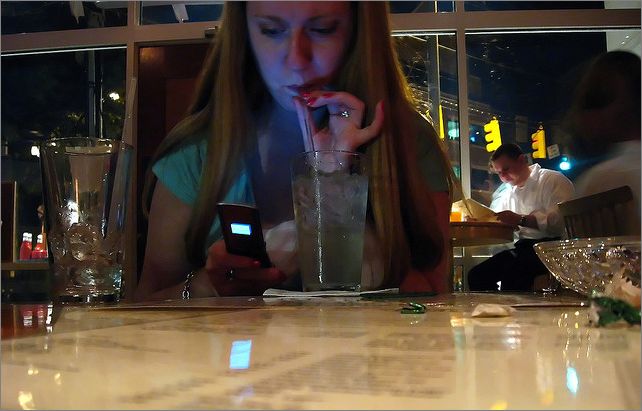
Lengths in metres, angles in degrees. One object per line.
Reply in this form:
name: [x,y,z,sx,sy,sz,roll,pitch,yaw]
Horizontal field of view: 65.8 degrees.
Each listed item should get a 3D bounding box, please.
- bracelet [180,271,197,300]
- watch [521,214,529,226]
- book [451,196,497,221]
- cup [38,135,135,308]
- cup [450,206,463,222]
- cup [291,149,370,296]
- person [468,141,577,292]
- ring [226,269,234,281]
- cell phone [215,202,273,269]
bracelet: [-0.377,0.229,1.423,0.026,0.085,0.062,6,-8,-12]
watch: [1.607,0.126,3.968,0.051,0.080,0.074,4,-14,15]
book: [1.031,0.027,3.423,0.136,0.060,0.171,9,11,-40]
cup: [-0.412,0.023,0.875,0.144,0.294,0.084,0,-6,-23]
cup: [0.847,0.059,3.136,0.084,0.094,0.084,0,-12,0]
cup: [0.020,0.032,0.988,0.150,0.274,0.078,-2,-5,-5]
person: [1.682,0.286,4.207,0.859,1.546,0.655,1,-5,-13]
ring: [-0.223,0.171,1.224,0.025,0.024,0.023,1,5,0]
cell phone: [-0.171,0.093,1.138,0.096,0.222,0.025,5,31,18]
